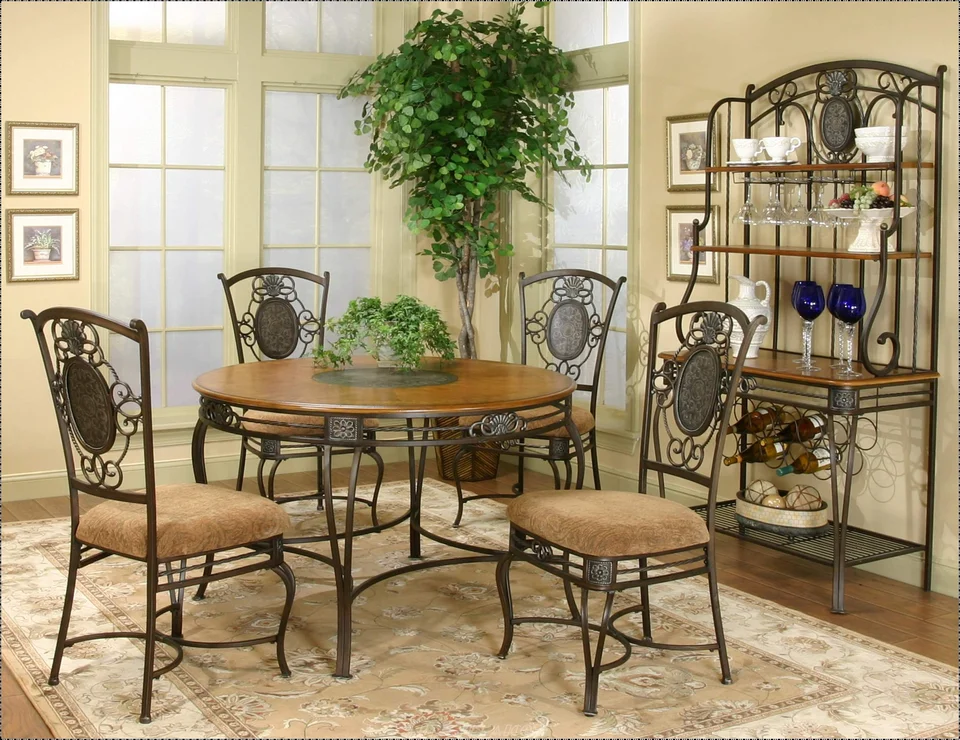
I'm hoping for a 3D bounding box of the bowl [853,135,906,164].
[{"bbox_3d":[1.738,-0.971,3.507,0.184,0.099,0.170,-2,6,0],"label":"bowl"}]

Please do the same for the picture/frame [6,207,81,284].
[{"bbox_3d":[-2.572,-0.745,4.729,0.558,0.488,0.044,-2,2,-34],"label":"picture/frame"}]

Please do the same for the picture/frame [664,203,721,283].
[{"bbox_3d":[1.222,-0.733,4.611,0.495,0.485,0.042,-7,9,-34],"label":"picture/frame"}]

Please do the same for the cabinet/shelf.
[{"bbox_3d":[1.789,-0.217,4.106,0.749,2.357,1.414,8,9,-21],"label":"cabinet/shelf"}]

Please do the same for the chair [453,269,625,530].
[{"bbox_3d":[0.289,0.163,4.268,0.961,1.262,0.870,-2,13,12],"label":"chair"}]

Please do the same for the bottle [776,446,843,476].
[{"bbox_3d":[1.569,0.433,3.819,0.226,0.069,0.074,-10,-26,-18],"label":"bottle"}]

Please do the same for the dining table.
[{"bbox_3d":[-0.415,0.571,3.527,1.639,0.871,1.498,1,1,11],"label":"dining table"}]

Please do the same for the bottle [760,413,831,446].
[{"bbox_3d":[1.505,0.287,3.842,0.268,0.071,0.069,-14,-22,-40],"label":"bottle"}]

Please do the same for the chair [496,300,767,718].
[{"bbox_3d":[0.533,0.452,3.011,0.915,1.296,0.839,-7,6,-30],"label":"chair"}]

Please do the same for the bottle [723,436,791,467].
[{"bbox_3d":[1.392,0.408,4.017,0.318,0.091,0.102,-9,-13,-1],"label":"bottle"}]

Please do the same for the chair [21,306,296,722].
[{"bbox_3d":[-1.401,0.388,3.396,0.800,1.380,2.139,-4,9,-27],"label":"chair"}]

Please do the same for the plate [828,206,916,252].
[{"bbox_3d":[1.745,-0.628,3.546,0.284,0.120,0.262,-6,10,-23],"label":"plate"}]
